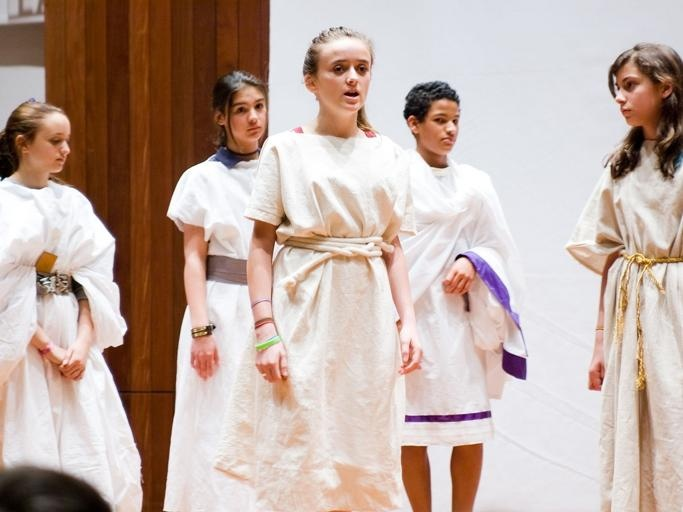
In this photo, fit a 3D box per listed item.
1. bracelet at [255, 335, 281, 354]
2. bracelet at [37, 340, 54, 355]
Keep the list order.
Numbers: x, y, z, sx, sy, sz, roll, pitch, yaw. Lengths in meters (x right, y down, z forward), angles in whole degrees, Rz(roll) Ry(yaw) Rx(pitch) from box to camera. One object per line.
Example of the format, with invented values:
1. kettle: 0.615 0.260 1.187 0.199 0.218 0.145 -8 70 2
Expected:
1. bracelet: -0.255 0.308 3.710 0.063 0.022 0.054 -26 -6 2
2. bracelet: -1.189 0.377 4.314 0.046 0.043 0.045 1 -10 -4
